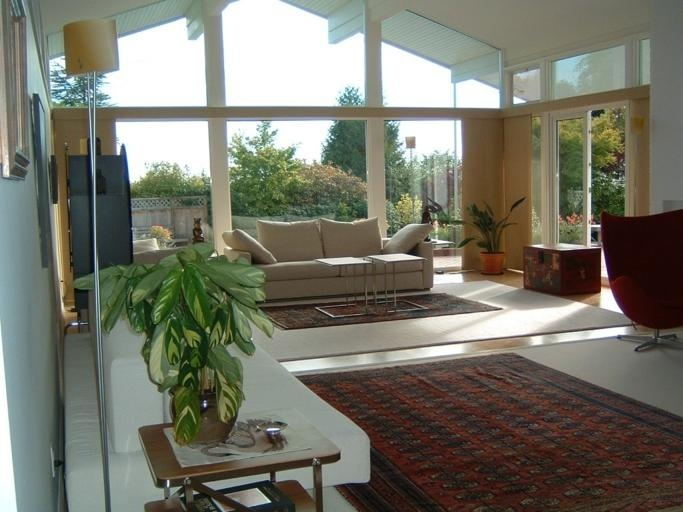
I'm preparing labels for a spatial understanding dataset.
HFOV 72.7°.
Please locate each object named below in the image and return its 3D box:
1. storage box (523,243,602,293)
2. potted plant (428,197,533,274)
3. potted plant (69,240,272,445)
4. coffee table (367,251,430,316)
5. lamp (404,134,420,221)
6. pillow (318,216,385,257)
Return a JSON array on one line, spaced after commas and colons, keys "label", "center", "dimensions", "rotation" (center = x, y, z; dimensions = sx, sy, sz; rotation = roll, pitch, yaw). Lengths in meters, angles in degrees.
[{"label": "storage box", "center": [3.485, 0.192, 7.278], "dimensions": [0.772, 0.658, 1.060], "rotation": [-3, 6, -23]}, {"label": "potted plant", "center": [2.884, -0.420, 9.615], "dimensions": [1.679, 1.337, 1.491], "rotation": [-3, 5, -22]}, {"label": "potted plant", "center": [-0.524, 0.296, 1.548], "dimensions": [0.529, 0.658, 0.416], "rotation": [4, 9, 38]}, {"label": "coffee table", "center": [0.806, 0.387, 6.791], "dimensions": [0.839, 0.762, 0.830], "rotation": [0, 5, -21]}, {"label": "lamp", "center": [1.443, -1.560, 9.429], "dimensions": [0.293, 1.727, 0.130], "rotation": [-5, 8, -26]}, {"label": "pillow", "center": [0.148, -0.299, 7.880], "dimensions": [0.818, 0.562, 0.278], "rotation": [-3, 1, -13]}]
